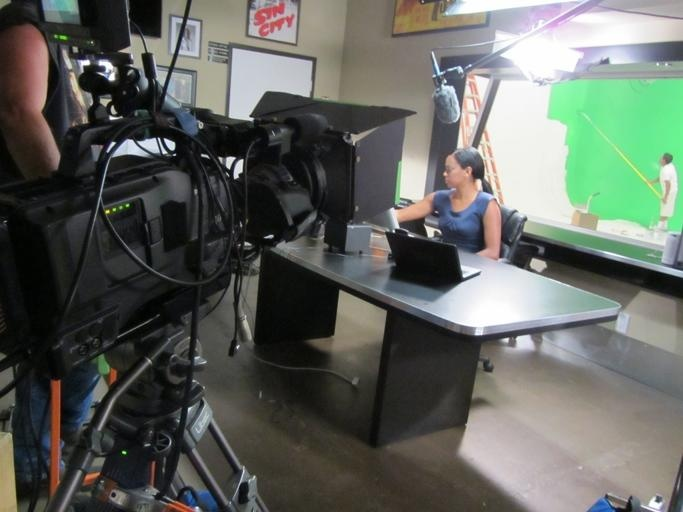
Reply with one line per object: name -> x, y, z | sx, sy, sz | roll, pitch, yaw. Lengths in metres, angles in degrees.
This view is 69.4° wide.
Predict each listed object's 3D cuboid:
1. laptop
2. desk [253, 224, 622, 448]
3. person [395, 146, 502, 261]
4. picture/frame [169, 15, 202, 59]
laptop -> 0.331, -0.064, 1.939 | 0.233, 0.179, 0.276 | -11, 14, -41
desk -> 0.253, 0.371, 2.262 | 0.802, 0.823, 1.595 | -16, 26, -40
person -> 0.681, -0.097, 3.337 | 0.703, 1.185, 0.482 | 4, 23, 16
picture/frame -> -1.382, -1.938, 4.376 | 0.132, 0.346, 0.353 | 12, 22, 31
